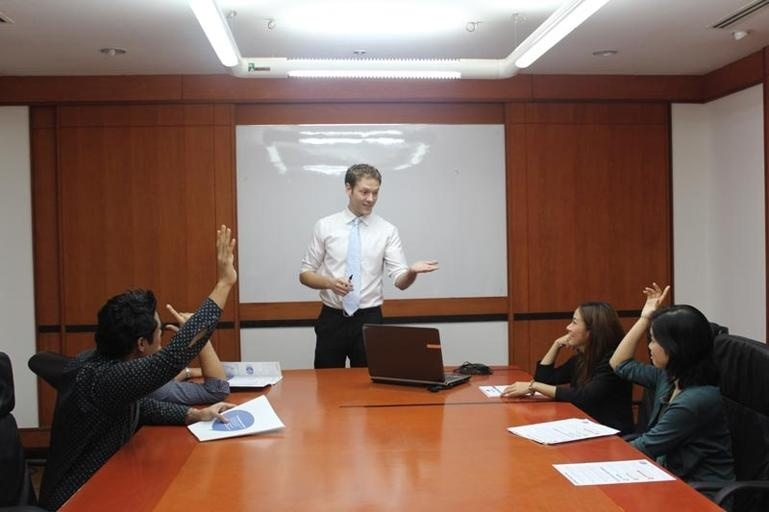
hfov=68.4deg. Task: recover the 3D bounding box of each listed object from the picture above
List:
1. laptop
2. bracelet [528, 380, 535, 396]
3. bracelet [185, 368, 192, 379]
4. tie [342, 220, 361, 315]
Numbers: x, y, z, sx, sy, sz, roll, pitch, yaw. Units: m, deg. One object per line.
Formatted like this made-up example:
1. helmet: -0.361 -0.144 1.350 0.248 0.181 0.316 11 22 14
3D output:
1. laptop: 0.203 0.597 3.835 0.527 0.398 0.443 0 1 33
2. bracelet: 0.924 0.836 3.549 0.054 0.084 0.077 2 -7 15
3. bracelet: -1.369 0.813 3.903 0.043 0.068 0.067 9 6 35
4. tie: -0.269 0.082 4.627 0.142 0.790 0.267 0 3 0
